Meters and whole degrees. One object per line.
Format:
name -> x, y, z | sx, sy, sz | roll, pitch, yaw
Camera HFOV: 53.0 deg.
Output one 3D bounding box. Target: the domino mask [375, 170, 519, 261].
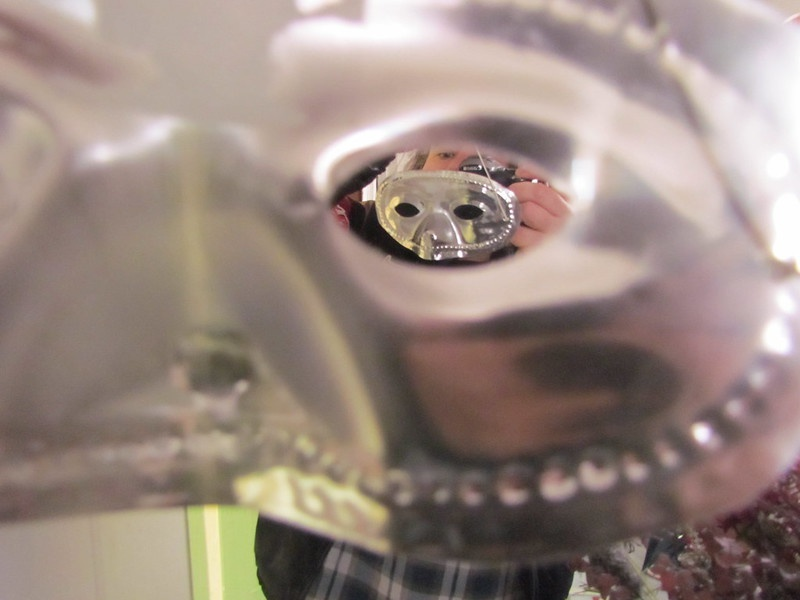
domino mask -> 0.031, -0.071, 0.657 | 0.119, 0.049, 0.076 | 4, 96, 6
